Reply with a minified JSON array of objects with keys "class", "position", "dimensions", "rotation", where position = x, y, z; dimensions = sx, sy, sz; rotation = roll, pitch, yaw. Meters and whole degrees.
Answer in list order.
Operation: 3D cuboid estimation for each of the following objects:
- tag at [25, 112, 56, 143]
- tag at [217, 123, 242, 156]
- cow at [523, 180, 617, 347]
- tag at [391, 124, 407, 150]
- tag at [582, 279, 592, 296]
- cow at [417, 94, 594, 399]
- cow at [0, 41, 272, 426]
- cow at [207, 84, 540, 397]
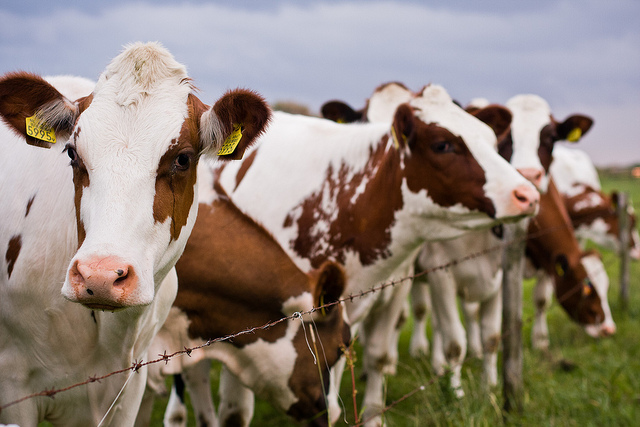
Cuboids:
[{"class":"tag","position":[-2.060,-0.643,6.337],"dimensions":[0.219,0.262,0.012],"rotation":[14,44,-4]},{"class":"tag","position":[-0.666,-0.583,6.441],"dimensions":[0.061,0.285,0.475],"rotation":[12,3,14]},{"class":"cow","position":[2.469,0.528,8.510],"dimensions":[0.384,1.579,0.807],"rotation":[-3,-36,-16]},{"class":"tag","position":[0.717,-0.706,7.969],"dimensions":[0.104,0.231,0.199],"rotation":[-4,6,-29]},{"class":"tag","position":[2.583,0.713,8.290],"dimensions":[0.052,0.185,0.087],"rotation":[-4,-2,20]},{"class":"cow","position":[1.753,0.398,9.645],"dimensions":[1.274,3.249,4.527],"rotation":[2,4,-2]},{"class":"cow","position":[-1.670,0.226,6.423],"dimensions":[1.960,2.950,1.174],"rotation":[1,5,20]},{"class":"cow","position":[0.179,0.551,9.102],"dimensions":[1.519,3.142,5.131],"rotation":[5,-6,-33]}]
